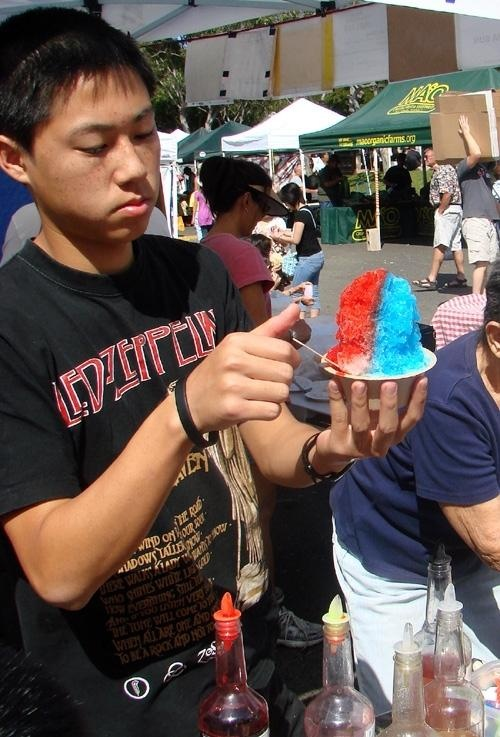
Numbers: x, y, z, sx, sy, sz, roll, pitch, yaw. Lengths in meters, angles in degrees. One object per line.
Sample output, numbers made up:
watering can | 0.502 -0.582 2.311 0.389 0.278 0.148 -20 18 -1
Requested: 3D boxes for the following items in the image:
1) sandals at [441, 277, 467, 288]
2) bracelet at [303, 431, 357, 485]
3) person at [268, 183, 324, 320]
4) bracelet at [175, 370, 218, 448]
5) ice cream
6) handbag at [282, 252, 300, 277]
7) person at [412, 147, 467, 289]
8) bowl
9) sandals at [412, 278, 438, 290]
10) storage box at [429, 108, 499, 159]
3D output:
sandals | 3.719 -1.608 10.560 0.526 0.214 0.259 7 16 30
bracelet | 0.159 0.181 1.240 0.096 0.116 0.042 29 -32 -5
person | 0.783 -1.664 8.574 0.752 2.165 0.604 -13 23 -23
bracelet | -0.093 0.071 0.883 0.042 0.107 0.067 -11 10 -8
ice cream | 0.233 -0.056 1.176 0.293 0.341 0.284 0 -1 2
handbag | 0.555 -1.521 8.342 0.269 0.323 0.116 2 0 -28
person | 3.303 -2.615 9.861 0.711 2.343 0.970 0 5 41
bowl | 0.263 0.024 1.116 0.229 0.102 0.311 -7 10 8
sandals | 3.226 -1.560 10.544 0.237 0.168 0.407 -7 14 -40
storage box | 2.493 -2.765 6.771 0.714 0.641 0.536 3 17 11
